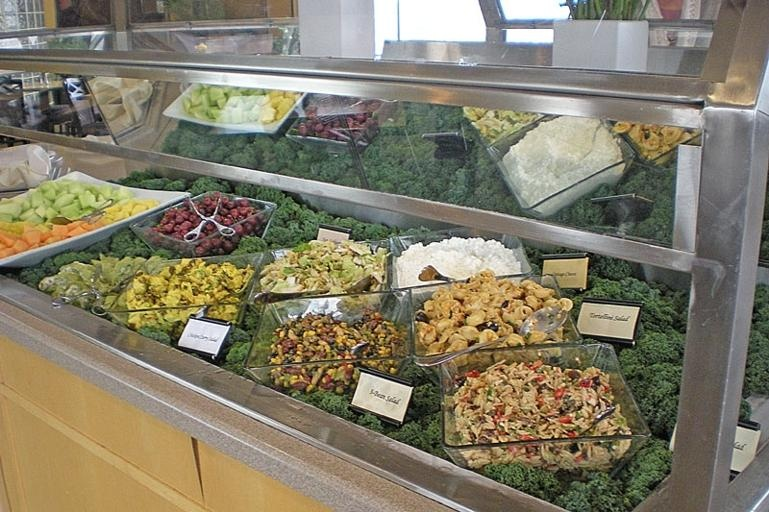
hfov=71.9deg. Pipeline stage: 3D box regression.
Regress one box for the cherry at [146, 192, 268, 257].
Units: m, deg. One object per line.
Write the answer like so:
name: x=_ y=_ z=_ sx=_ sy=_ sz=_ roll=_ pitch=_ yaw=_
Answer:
cherry: x=-0.757 y=-0.195 z=2.276 sx=0.501 sy=0.231 sz=0.508 roll=13 pitch=25 yaw=36

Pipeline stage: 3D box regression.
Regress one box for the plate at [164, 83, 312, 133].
plate: x=-0.411 y=-0.403 z=1.458 sx=0.289 sy=0.172 sz=0.053 roll=13 pitch=-13 yaw=24

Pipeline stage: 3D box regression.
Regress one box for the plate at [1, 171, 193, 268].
plate: x=-1.216 y=-0.104 z=2.263 sx=0.595 sy=0.118 sz=0.571 roll=-22 pitch=32 yaw=-32
